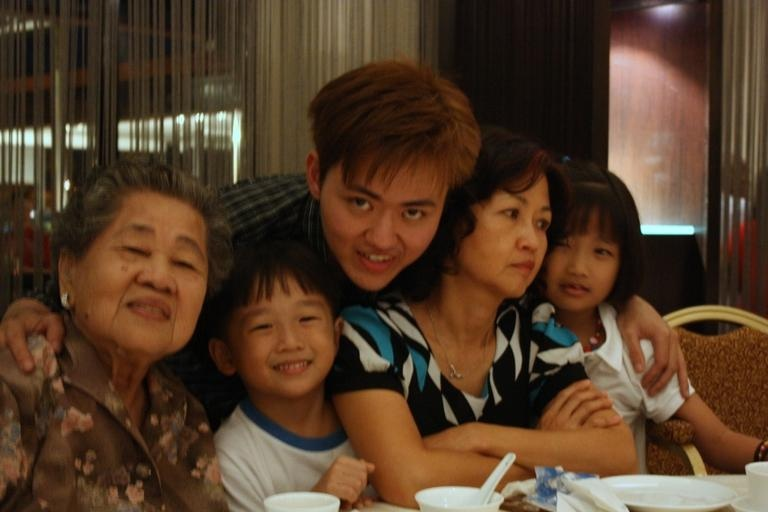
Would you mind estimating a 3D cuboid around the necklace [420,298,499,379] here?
[{"bbox_3d":[0.189,0.218,2.321,0.128,0.264,0.062,3,5,-6],"label":"necklace"}]
